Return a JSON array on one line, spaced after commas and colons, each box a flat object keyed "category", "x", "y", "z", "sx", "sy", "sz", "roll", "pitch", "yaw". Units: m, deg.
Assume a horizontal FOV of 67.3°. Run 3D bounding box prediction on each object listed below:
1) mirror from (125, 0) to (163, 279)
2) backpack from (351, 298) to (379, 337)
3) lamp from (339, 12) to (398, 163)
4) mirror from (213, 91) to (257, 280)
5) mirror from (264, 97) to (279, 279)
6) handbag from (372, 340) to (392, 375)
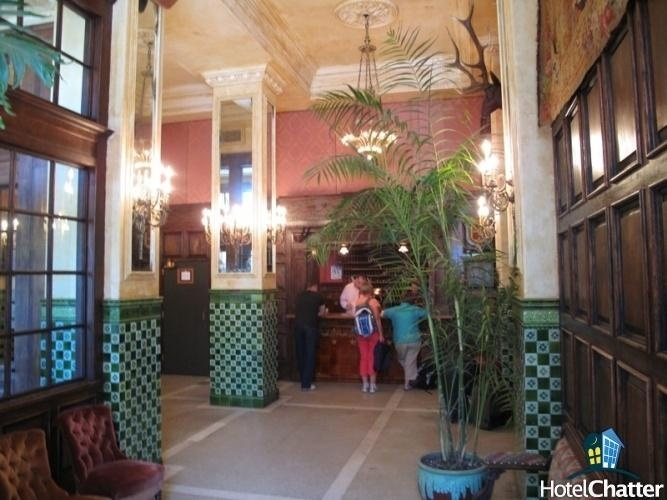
[{"category": "mirror", "x": -2.059, "y": -1.336, "z": 5.613, "sx": 0.199, "sy": 3.142, "sz": 0.639, "roll": -1, "pitch": -2, "yaw": 5}, {"category": "backpack", "x": 0.568, "y": 1.195, "z": 9.012, "sx": 0.540, "sy": 0.959, "sz": 0.453, "roll": -5, "pitch": -7, "yaw": 9}, {"category": "lamp", "x": 0.588, "y": -3.117, "z": 8.473, "sx": 0.549, "sy": 1.553, "sz": 0.601, "roll": 14, "pitch": 38, "yaw": 25}, {"category": "mirror", "x": -1.615, "y": -1.038, "z": 8.248, "sx": 0.622, "sy": 3.542, "sz": 0.146, "roll": -3, "pitch": -22, "yaw": -1}, {"category": "mirror", "x": -1.120, "y": -1.401, "z": 8.960, "sx": 0.245, "sy": 2.190, "sz": 0.274, "roll": 0, "pitch": -9, "yaw": -4}, {"category": "handbag", "x": 0.883, "y": 1.928, "z": 8.999, "sx": 0.171, "sy": 0.571, "sz": 0.386, "roll": 2, "pitch": -12, "yaw": 38}]
